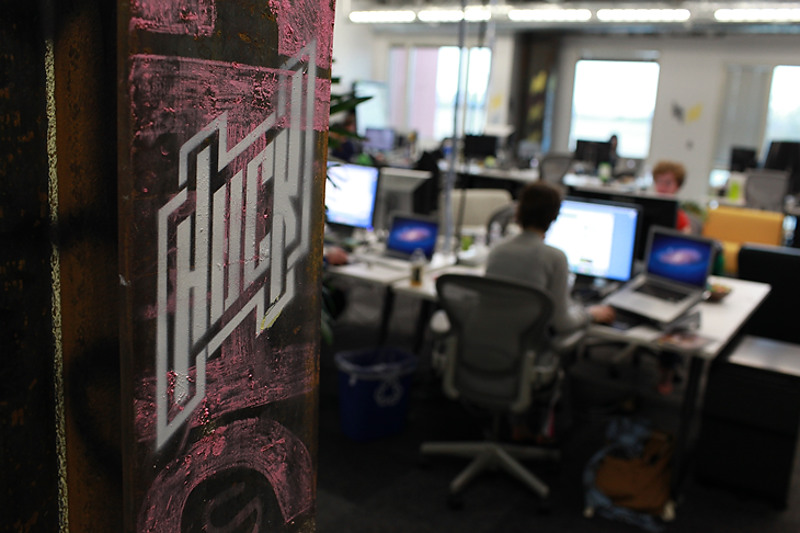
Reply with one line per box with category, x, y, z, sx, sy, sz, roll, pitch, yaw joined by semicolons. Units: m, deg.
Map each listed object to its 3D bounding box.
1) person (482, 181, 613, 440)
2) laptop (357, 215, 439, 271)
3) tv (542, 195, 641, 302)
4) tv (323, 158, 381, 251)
person;0.695;0.342;3.309;0.492;1.407;0.537;-13;23;-41
laptop;0.020;-0.217;4.039;0.416;0.269;0.329;11;15;37
tv;1.013;-0.183;3.665;0.547;0.521;0.495;17;23;33
tv;-0.293;-0.370;4.161;0.516;0.706;0.094;10;20;30
